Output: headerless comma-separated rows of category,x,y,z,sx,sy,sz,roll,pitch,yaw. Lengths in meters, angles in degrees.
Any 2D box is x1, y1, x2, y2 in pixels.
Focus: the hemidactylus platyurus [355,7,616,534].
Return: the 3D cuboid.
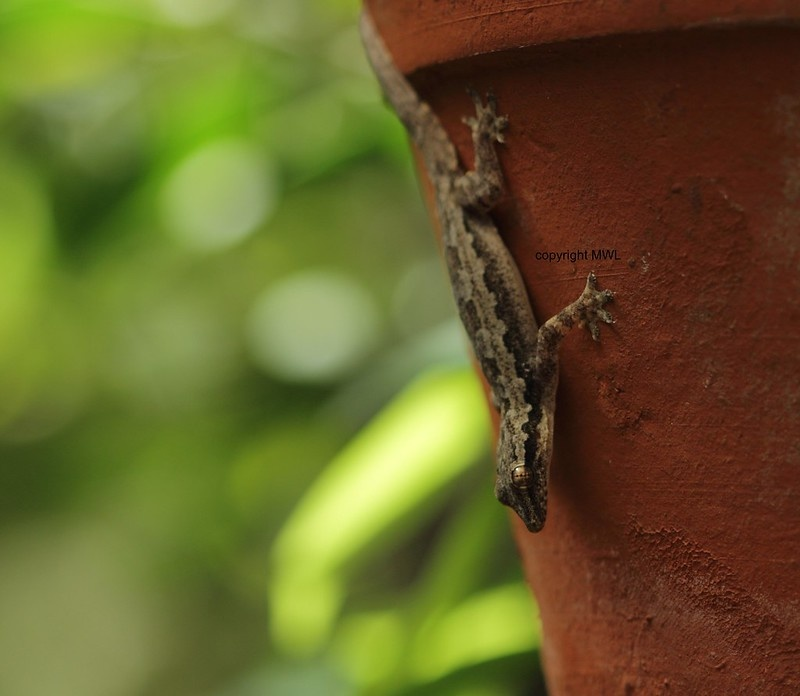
hemidactylus platyurus,0.140,-0.066,1.407,0.104,0.321,0.785,-15,91,-13
